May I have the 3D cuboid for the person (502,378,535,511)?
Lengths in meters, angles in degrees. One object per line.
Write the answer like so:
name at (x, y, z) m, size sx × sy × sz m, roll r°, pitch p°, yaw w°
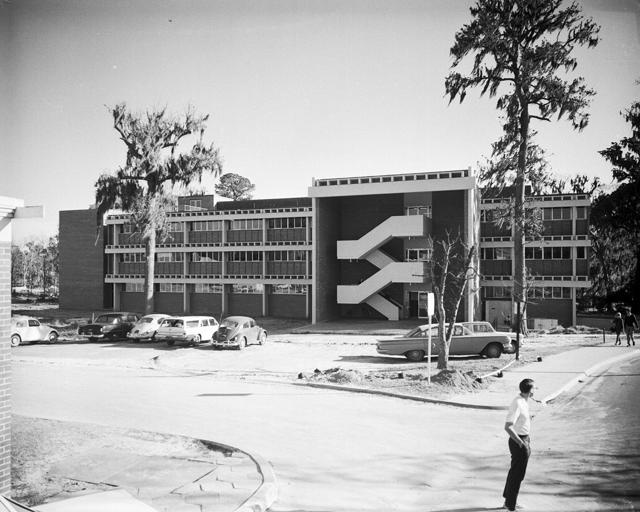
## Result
person at (4.110, 3.910, 14.729) m, size 0.501 × 2.685 × 0.693 m, roll 2°, pitch 6°, yaw 26°

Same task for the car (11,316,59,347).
car at (-13.711, 3.604, 34.151) m, size 2.425 × 1.322 × 1.544 m, roll 0°, pitch 1°, yaw -43°
